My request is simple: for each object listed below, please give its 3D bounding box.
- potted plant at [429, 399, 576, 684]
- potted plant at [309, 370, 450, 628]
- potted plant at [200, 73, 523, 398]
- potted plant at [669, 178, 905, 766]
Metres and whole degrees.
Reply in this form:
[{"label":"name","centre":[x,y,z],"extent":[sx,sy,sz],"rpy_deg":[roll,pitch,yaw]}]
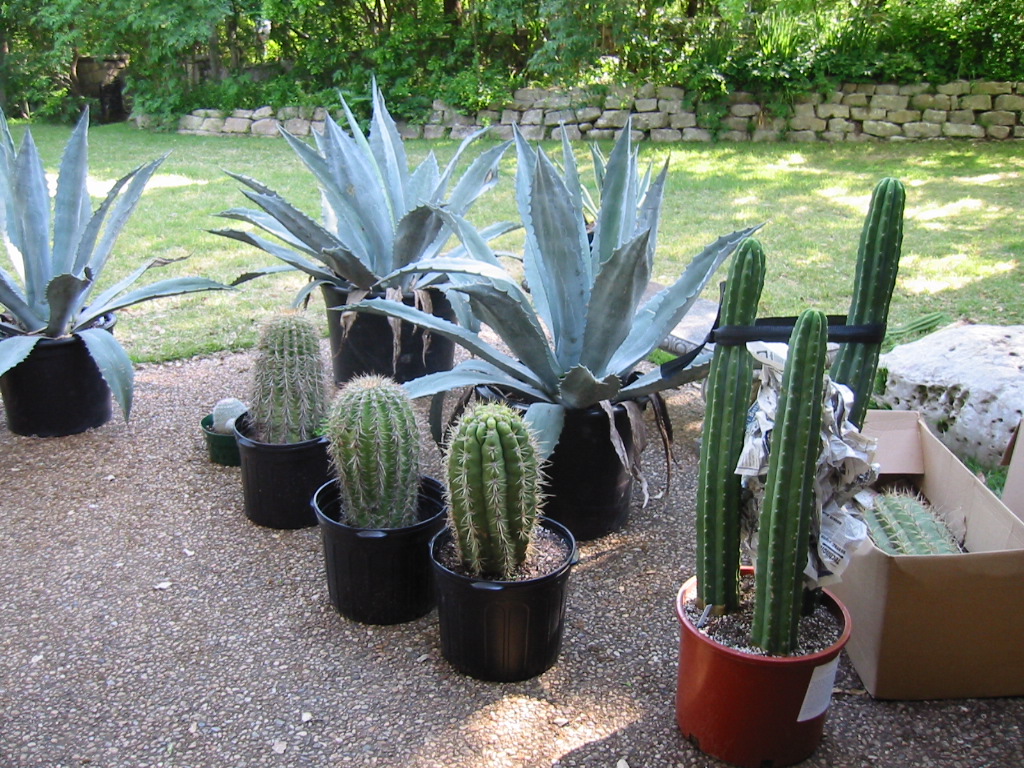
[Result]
[{"label":"potted plant","centre":[-0.025,0.461,2.703],"extent":[0.438,0.817,0.303],"rpy_deg":[-2,18,-6]},{"label":"potted plant","centre":[-0.433,0.375,2.886],"extent":[0.434,0.762,0.372],"rpy_deg":[0,18,0]},{"label":"potted plant","centre":[-0.495,-0.583,3.920],"extent":[1.400,1.407,1.357],"rpy_deg":[7,17,24]},{"label":"potted plant","centre":[0.754,0.306,2.527],"extent":[0.468,1.402,0.638],"rpy_deg":[8,19,22]}]
